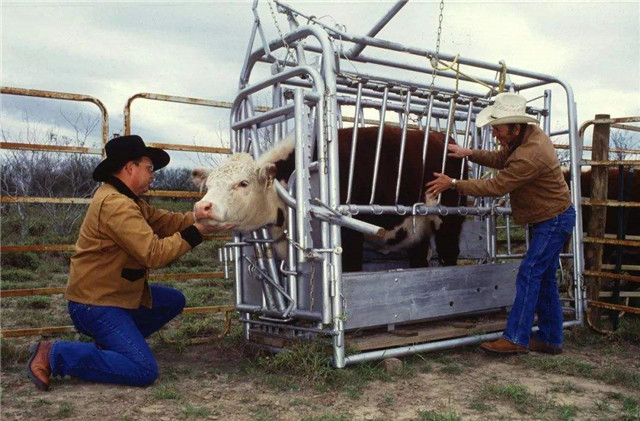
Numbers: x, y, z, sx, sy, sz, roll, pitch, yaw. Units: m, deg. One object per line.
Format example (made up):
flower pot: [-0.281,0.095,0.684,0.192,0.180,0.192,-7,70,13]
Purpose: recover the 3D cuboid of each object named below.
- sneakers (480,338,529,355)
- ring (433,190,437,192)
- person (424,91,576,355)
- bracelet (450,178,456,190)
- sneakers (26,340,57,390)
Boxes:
sneakers: [1.983,1.469,5.880,0.517,0.250,0.199,6,-10,-6]
ring: [1.315,-0.227,6.153,0.028,0.028,0.007,-11,13,-38]
person: [2.166,0.136,6.062,1.287,2.949,1.056,3,7,23]
bracelet: [1.495,-0.303,6.037,0.062,0.105,0.097,3,3,37]
sneakers: [-2.599,1.439,5.018,0.247,0.548,0.181,-13,-27,-6]
